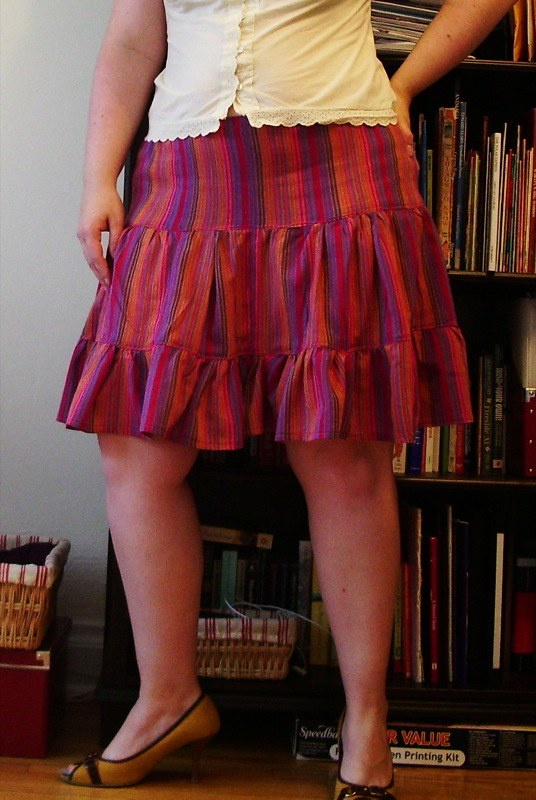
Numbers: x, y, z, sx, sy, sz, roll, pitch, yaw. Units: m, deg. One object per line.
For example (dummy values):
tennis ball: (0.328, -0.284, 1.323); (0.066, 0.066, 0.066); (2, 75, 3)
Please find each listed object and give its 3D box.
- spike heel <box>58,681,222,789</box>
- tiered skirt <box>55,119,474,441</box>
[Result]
spike heel: (-0.168, 0.492, 1.237); (0.303, 0.158, 0.095); (-3, -4, -4)
tiered skirt: (0.004, -0.164, 1.164); (0.569, 0.397, 0.306); (-1, 13, 1)
